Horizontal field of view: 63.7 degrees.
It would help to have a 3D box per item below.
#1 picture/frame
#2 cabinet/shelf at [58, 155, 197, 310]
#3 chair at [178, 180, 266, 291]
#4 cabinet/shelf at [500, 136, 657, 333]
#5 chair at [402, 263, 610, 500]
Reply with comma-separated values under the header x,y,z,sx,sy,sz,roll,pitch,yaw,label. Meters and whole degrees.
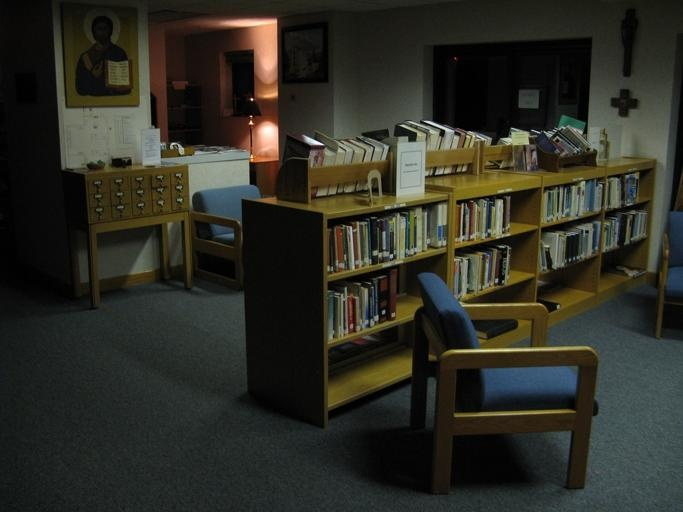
x,y,z,sx,sy,sz,roll,pitch,yaw,label
-0.530,-3.029,8.103,0.071,0.899,1.028,-12,16,-42,picture/frame
-2.147,-0.233,5.404,0.732,1.533,1.187,12,17,41,cabinet/shelf
-1.097,-0.296,6.153,0.909,1.063,1.405,9,15,38,chair
2.107,-0.215,4.995,0.413,0.994,1.651,9,17,43,cabinet/shelf
0.741,0.590,3.283,1.070,1.192,1.024,-2,14,-2,chair
